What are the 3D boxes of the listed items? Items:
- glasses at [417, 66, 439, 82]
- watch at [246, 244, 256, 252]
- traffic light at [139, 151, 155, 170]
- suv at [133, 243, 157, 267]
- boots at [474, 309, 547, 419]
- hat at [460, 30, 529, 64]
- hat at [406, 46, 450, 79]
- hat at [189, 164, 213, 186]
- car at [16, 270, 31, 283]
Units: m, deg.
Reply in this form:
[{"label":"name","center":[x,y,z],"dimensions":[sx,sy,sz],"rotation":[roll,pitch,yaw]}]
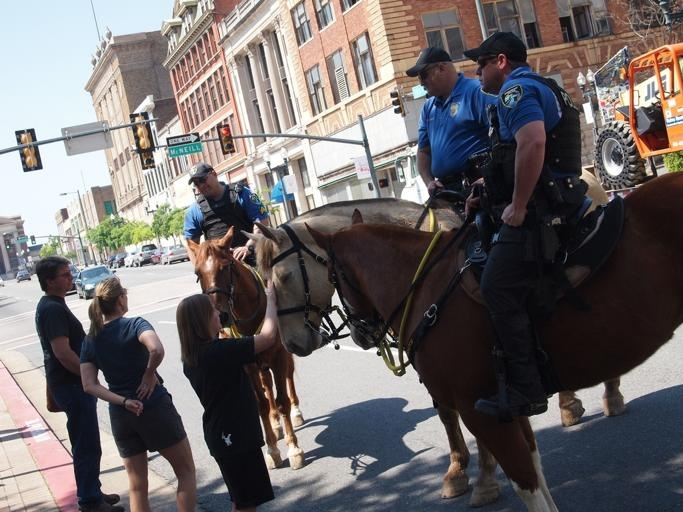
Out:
[{"label":"glasses","center":[0.777,-1.634,4.866],"dimensions":[0.164,0.052,0.141],"rotation":[-38,7,-14]},{"label":"watch","center":[-1.089,-0.097,6.522],"dimensions":[0.083,0.051,0.115],"rotation":[0,-3,1]},{"label":"traffic light","center":[-8.427,-4.158,23.593],"dimensions":[0.489,0.649,1.296],"rotation":[-13,7,-22]},{"label":"suv","center":[-23.749,-0.144,66.389],"dimensions":[2.150,2.410,5.646],"rotation":[-16,8,-39]},{"label":"boots","center":[1.075,0.743,3.620],"dimensions":[0.510,0.855,0.440],"rotation":[-1,-3,-1]},{"label":"hat","center":[1.023,-1.370,3.603],"dimensions":[0.327,0.199,0.221],"rotation":[3,9,13]},{"label":"hat","center":[0.776,-1.761,4.944],"dimensions":[0.391,0.223,0.261],"rotation":[-6,5,-4]},{"label":"hat","center":[-1.765,-1.063,6.925],"dimensions":[0.226,0.210,0.349],"rotation":[-17,6,29]},{"label":"car","center":[-84.437,5.461,144.401],"dimensions":[3.074,2.592,7.332],"rotation":[-5,6,-21]}]
